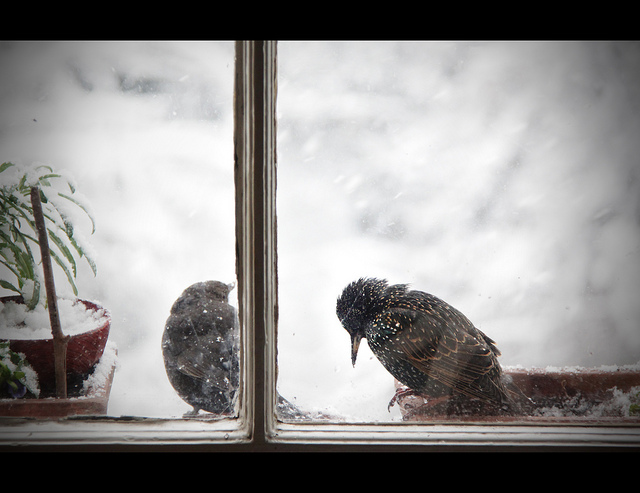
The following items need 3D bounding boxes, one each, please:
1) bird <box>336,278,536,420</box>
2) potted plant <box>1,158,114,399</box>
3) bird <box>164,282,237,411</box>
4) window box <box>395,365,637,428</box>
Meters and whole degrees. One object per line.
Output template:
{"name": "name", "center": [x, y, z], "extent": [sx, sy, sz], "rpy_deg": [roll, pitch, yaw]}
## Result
{"name": "bird", "center": [0.414, 0.348, 2.795], "extent": [0.708, 0.481, 0.340], "rpy_deg": [-3, -6, 15]}
{"name": "potted plant", "center": [-0.899, 0.095, 2.602], "extent": [0.377, 0.762, 0.271], "rpy_deg": [-6, -23, -17]}
{"name": "bird", "center": [-0.425, 0.353, 2.767], "extent": [0.284, 0.396, 0.142], "rpy_deg": [-10, -6, -20]}
{"name": "window box", "center": [0.737, 0.511, 2.605], "extent": [0.608, 0.145, 0.320], "rpy_deg": [-1, -7, 0]}
